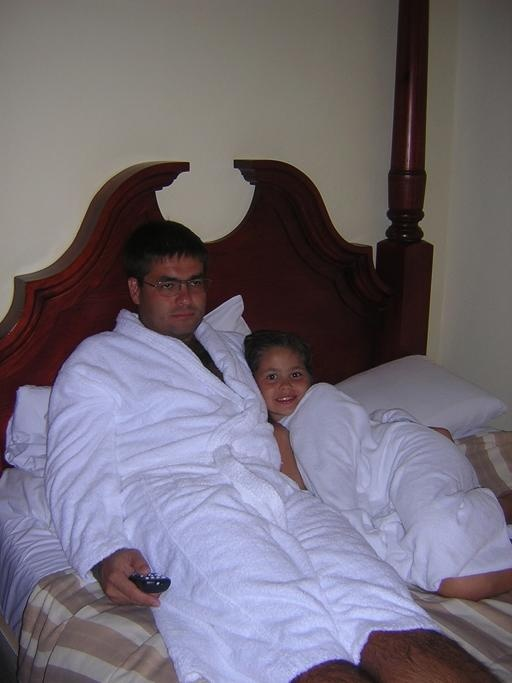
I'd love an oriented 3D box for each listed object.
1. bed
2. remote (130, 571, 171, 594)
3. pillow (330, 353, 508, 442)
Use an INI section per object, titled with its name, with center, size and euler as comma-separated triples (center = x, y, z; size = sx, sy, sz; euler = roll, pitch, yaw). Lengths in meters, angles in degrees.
[bed]
center = -0.004, 0.309, 2.421
size = 2.062, 1.903, 1.096
euler = -14, 19, -37
[remote]
center = -0.179, 0.413, 1.010
size = 0.063, 0.018, 0.036
euler = -20, -23, 41
[pillow]
center = 0.495, 0.120, 1.772
size = 0.292, 0.084, 0.325
euler = 5, 15, 35
